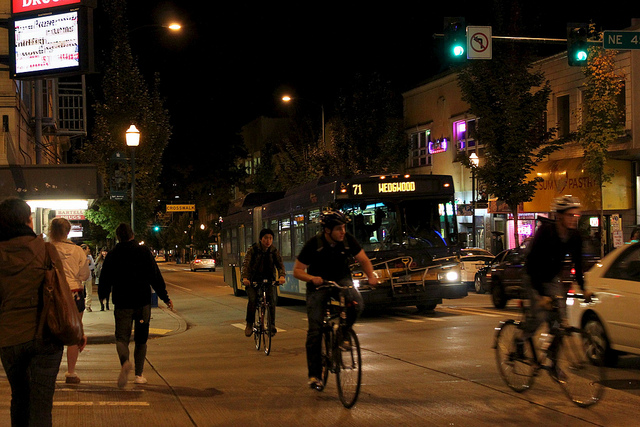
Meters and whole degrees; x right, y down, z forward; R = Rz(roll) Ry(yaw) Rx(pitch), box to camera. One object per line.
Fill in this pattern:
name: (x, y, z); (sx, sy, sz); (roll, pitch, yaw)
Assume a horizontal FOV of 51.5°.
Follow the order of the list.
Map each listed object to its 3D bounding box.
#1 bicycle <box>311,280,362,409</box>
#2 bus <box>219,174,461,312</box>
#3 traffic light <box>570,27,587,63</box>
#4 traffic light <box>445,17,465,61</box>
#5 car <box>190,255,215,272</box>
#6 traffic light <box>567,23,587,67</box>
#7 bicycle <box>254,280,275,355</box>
bicycle: (0.234, 1.813, 9.356); (0.493, 1.734, 1.261); (0, -1, -16)
bus: (0.001, 1.335, 23.431); (3.479, 3.622, 12.030); (1, -6, -25)
traffic light: (7.362, -4.866, 19.090); (0.496, 1.053, 0.134); (-1, 0, -2)
traffic light: (3.730, -4.930, 18.619); (0.556, 1.197, 0.351); (-1, 0, 6)
car: (-12.496, 5.283, 70.409); (1.788, 1.385, 4.157); (0, -1, -11)
traffic light: (7.375, -4.954, 19.216); (0.563, 1.315, 0.476); (-1, 0, 13)
bicycle: (-1.127, 2.121, 13.666); (0.346, 1.441, 1.032); (0, -1, -17)
